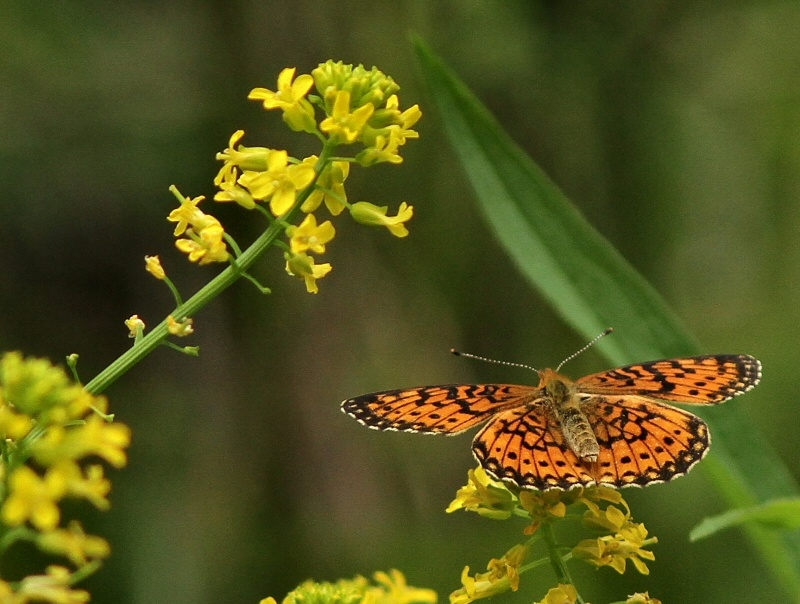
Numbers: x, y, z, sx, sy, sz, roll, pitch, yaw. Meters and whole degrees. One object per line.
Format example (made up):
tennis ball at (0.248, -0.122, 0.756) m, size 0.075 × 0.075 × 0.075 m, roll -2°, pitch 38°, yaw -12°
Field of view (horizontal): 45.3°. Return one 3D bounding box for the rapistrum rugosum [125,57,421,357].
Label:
rapistrum rugosum at (-0.269, -0.241, 2.213) m, size 0.651 × 0.575 × 0.349 m, roll -10°, pitch 18°, yaw -18°
